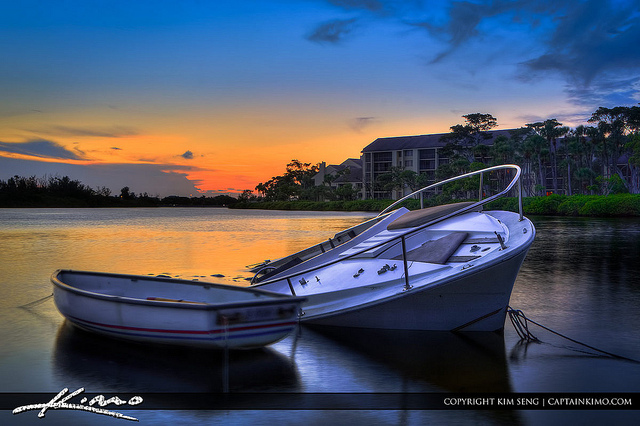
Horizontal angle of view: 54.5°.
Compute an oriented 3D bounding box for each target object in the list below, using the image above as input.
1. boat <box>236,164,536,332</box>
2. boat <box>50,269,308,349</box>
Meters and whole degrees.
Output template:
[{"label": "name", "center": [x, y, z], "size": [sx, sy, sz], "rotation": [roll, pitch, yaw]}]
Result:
[{"label": "boat", "center": [1.899, 0.823, 16.718], "size": [5.638, 4.272, 5.565], "rotation": [0, 2, -24]}, {"label": "boat", "center": [-3.819, 2.362, 15.188], "size": [6.263, 1.324, 2.140], "rotation": [1, 1, 34]}]
